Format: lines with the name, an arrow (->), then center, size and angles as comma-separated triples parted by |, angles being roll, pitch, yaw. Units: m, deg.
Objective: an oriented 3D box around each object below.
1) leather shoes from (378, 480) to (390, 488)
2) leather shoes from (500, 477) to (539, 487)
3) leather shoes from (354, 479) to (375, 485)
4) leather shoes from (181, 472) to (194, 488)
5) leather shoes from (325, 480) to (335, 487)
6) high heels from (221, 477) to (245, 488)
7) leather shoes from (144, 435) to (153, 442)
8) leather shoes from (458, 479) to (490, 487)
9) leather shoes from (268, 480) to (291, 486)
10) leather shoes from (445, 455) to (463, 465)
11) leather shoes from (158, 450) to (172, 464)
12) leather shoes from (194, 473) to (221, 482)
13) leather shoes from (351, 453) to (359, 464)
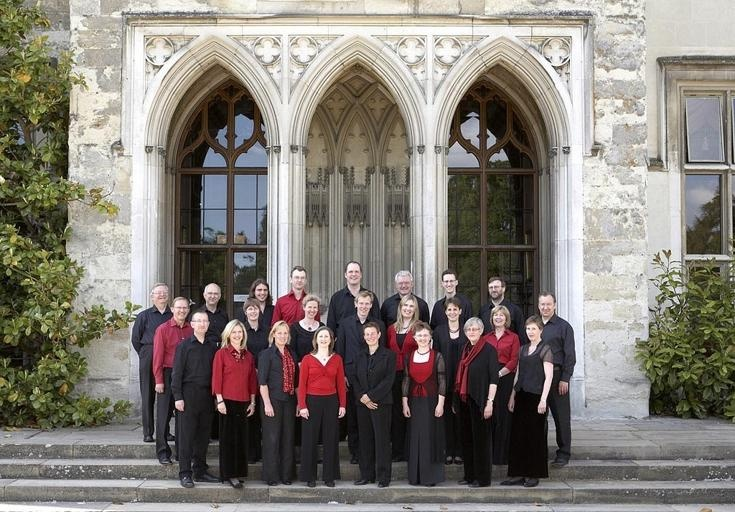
leather shoes -> 0.197, 2.869, 15.048 | 0.128, 0.122, 0.060 | 12, -20, -23
leather shoes -> 1.902, 2.867, 15.113 | 0.467, 0.116, 0.122 | -2, -6, 5
leather shoes -> -0.052, 2.869, 15.137 | 0.265, 0.109, 0.089 | 7, -11, -5
leather shoes -> -2.262, 2.831, 15.010 | 0.186, 0.148, 0.110 | -1, -6, 0
leather shoes -> -0.477, 2.881, 15.097 | 0.153, 0.080, 0.135 | 0, -6, -12
high heels -> -1.705, 2.851, 15.026 | 0.310, 0.119, 0.110 | -2, -6, 35
leather shoes -> -2.880, 2.415, 15.782 | 0.131, 0.093, 0.119 | 0, -6, -17
leather shoes -> 1.321, 2.881, 15.108 | 0.392, 0.087, 0.110 | -2, -6, 8
leather shoes -> -1.119, 2.863, 15.079 | 0.299, 0.058, 0.069 | -1, -6, -8
leather shoes -> 1.100, 2.655, 15.467 | 0.233, 0.097, 0.083 | -3, 0, -4
leather shoes -> -2.598, 2.599, 15.366 | 0.171, 0.162, 0.134 | 0, -6, -12
leather shoes -> -2.034, 2.824, 15.176 | 0.241, 0.086, 0.134 | -1, -4, 1
leather shoes -> -0.176, 2.625, 15.403 | 0.073, 0.125, 0.213 | 2, -6, -28
